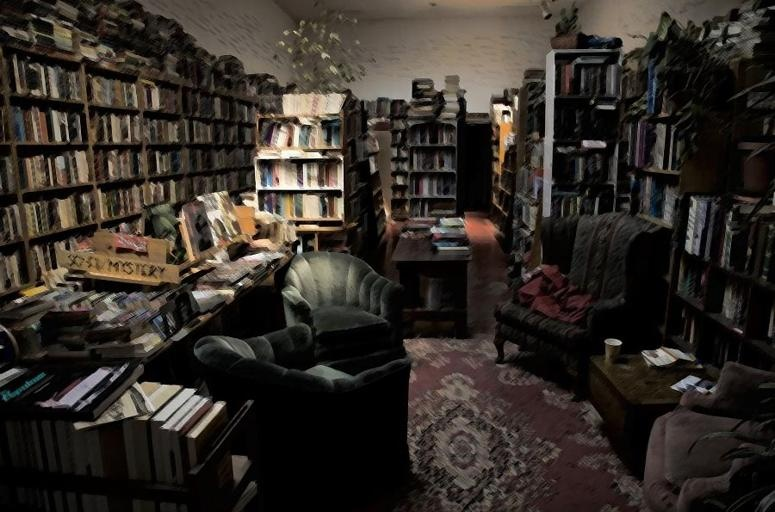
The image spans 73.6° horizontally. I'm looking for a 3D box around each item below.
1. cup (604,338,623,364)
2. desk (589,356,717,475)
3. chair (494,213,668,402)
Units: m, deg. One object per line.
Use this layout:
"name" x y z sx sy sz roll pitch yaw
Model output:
"cup" 1.616 0.685 3.802 0.161 0.152 0.155 0 5 0
"desk" 1.845 0.962 3.627 0.617 0.340 0.829 -10 9 1
"chair" 1.752 0.277 4.739 1.557 1.778 1.378 -3 10 -32
